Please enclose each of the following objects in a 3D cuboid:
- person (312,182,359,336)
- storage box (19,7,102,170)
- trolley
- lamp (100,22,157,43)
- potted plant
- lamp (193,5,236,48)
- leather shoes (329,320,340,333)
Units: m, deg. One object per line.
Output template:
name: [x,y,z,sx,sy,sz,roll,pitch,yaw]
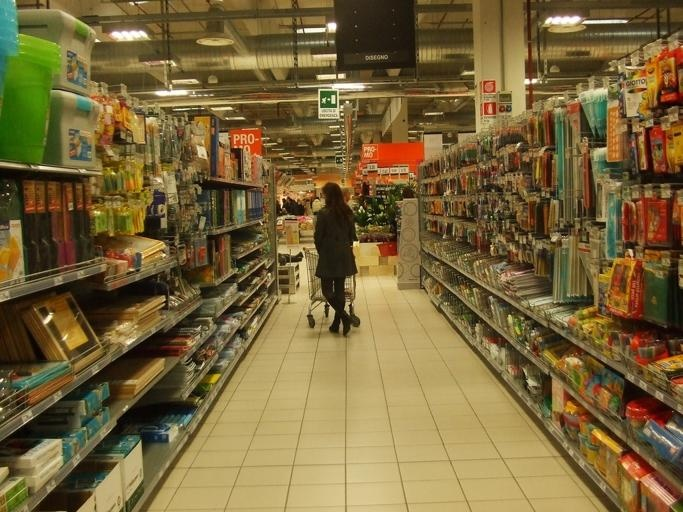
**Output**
person: [-0.058,0.025,6.705,0.520,2.107,0.597,1,6,26]
storage box: [-1.335,-0.836,2.323,0.250,0.822,0.451,-3,6,-6]
trolley: [-0.245,0.528,7.667,0.781,1.345,1.258,0,7,4]
lamp: [-3.696,-3.890,8.341,0.749,0.185,0.427,-4,7,-17]
potted plant: [1.024,-1.269,13.033,1.576,0.945,2.069,-1,23,13]
lamp: [-2.215,-4.100,8.383,0.533,0.851,0.809,-4,6,-15]
leather shoes: [-0.117,0.988,6.805,0.085,0.227,0.256,3,2,-25]
